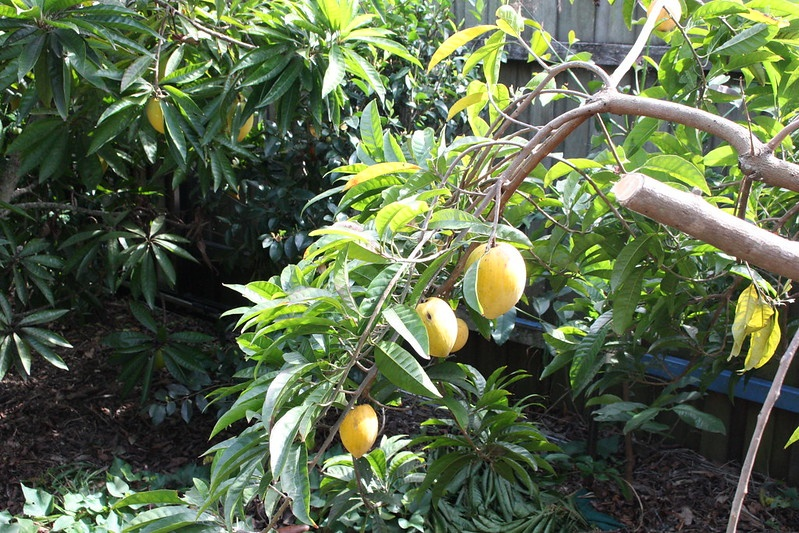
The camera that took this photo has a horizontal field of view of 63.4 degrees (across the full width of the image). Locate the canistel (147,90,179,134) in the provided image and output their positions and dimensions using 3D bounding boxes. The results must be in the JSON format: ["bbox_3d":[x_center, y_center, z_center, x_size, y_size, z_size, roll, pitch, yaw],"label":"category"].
[{"bbox_3d":[-1.079,-0.679,2.863,0.072,0.169,0.189,-7,25,-35],"label":"canistel"}]

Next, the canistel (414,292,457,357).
[{"bbox_3d":[0.078,0.154,1.722,0.112,0.147,0.110,2,-16,-45],"label":"canistel"}]

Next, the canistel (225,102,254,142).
[{"bbox_3d":[-0.761,-0.672,3.064,0.119,0.220,0.357,2,21,-16],"label":"canistel"}]

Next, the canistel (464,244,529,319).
[{"bbox_3d":[0.241,0.041,1.656,0.154,0.195,0.093,-4,23,-30],"label":"canistel"}]

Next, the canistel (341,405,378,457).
[{"bbox_3d":[-0.118,0.472,1.837,0.128,0.160,0.165,-2,-3,-4],"label":"canistel"}]
